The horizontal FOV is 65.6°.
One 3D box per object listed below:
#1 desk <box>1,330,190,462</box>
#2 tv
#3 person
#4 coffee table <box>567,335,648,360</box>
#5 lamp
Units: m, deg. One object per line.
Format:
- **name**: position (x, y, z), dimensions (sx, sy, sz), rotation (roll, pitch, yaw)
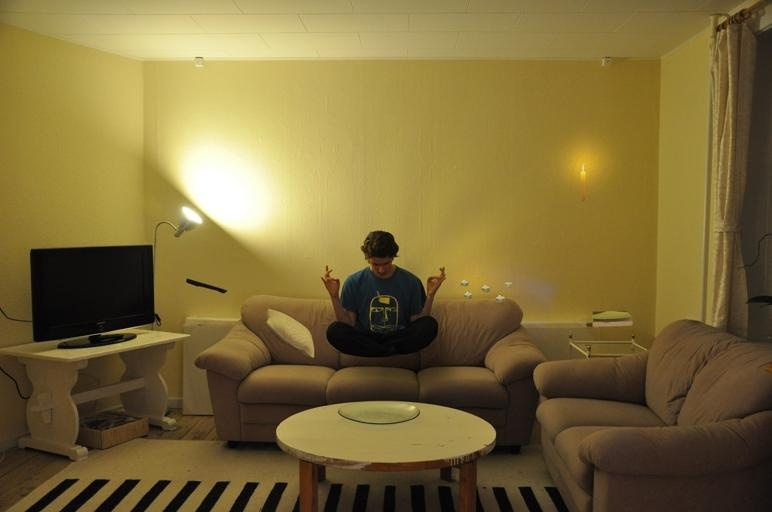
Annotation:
- **desk**: position (-2.477, 0.810, 5.117), dimensions (0.914, 0.910, 1.496), rotation (1, 1, 25)
- **tv**: position (-2.494, 0.336, 5.001), dimensions (0.100, 0.682, 0.916), rotation (2, 3, 42)
- **person**: position (-0.042, 0.335, 5.193), dimensions (1.062, 0.989, 0.619), rotation (-1, 8, 0)
- **coffee table**: position (1.995, 0.817, 5.321), dimensions (0.362, 0.152, 0.360), rotation (-2, 7, -1)
- **lamp**: position (-1.913, 0.101, 5.395), dimensions (0.208, 1.018, 0.407), rotation (-3, -7, 42)
